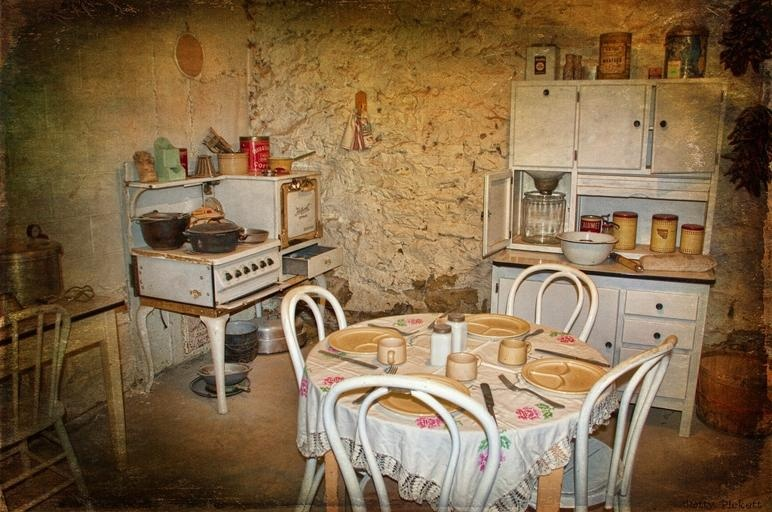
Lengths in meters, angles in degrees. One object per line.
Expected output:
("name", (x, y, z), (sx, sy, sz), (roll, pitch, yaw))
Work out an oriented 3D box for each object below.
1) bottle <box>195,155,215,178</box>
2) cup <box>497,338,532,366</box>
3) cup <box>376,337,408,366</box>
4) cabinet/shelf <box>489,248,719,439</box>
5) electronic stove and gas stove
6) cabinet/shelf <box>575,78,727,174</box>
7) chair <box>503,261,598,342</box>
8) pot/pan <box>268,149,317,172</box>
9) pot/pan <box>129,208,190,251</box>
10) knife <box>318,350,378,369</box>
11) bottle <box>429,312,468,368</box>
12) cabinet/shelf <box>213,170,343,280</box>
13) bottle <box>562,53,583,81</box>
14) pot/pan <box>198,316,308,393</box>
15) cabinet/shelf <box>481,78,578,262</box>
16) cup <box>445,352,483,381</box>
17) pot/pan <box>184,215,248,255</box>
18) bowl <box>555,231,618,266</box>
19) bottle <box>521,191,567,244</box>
("bottle", (-1.550, -0.758, 4.530), (0.220, 0.180, 0.213), (1, 3, 7))
("cup", (0.639, 0.492, 2.759), (0.134, 0.075, 0.160), (3, 2, 23))
("cup", (0.030, 0.484, 2.770), (0.130, 0.075, 0.154), (2, 20, 11))
("cabinet/shelf", (1.446, 0.685, 4.031), (1.805, 1.184, 0.570), (9, -5, -15))
("electronic stove and gas stove", (-1.402, 0.129, 4.046), (0.598, 0.257, 0.602), (3, 10, 18))
("cabinet/shelf", (2.030, -0.990, 4.098), (0.434, 0.703, 1.147), (-19, 23, -29))
("chair", (1.144, 0.308, 3.673), (0.508, 0.556, 0.481), (16, 25, 37))
("pot/pan", (-0.795, -0.849, 4.794), (0.487, 0.145, 0.227), (0, 9, 3))
("pot/pan", (-1.665, -0.193, 3.940), (0.368, 0.200, 0.338), (0, 4, -2))
("knife", (-0.194, 0.538, 2.769), (0.304, 0.012, 0.033), (13, 34, 28))
("bottle", (0.317, 0.438, 2.734), (0.144, 0.207, 0.271), (6, 10, 26))
("cabinet/shelf", (-1.028, -0.288, 4.894), (1.161, 0.793, 0.853), (9, 15, 31))
("bottle", (1.452, -1.479, 4.189), (0.156, 0.232, 0.240), (2, 10, 18))
("pot/pan", (-1.188, 0.810, 4.599), (0.581, 0.224, 0.712), (0, 12, -4))
("cabinet/shelf", (1.151, -0.688, 4.197), (0.588, 1.355, 0.777), (3, 11, 22))
("cup", (0.361, 0.533, 2.600), (0.173, 0.093, 0.116), (-1, 6, -30))
("pot/pan", (-1.333, -0.143, 3.996), (0.432, 0.224, 0.276), (4, 10, 29))
("bowl", (1.522, -0.061, 4.042), (0.363, 0.125, 0.315), (0, 11, -1))
("bottle", (1.311, -0.331, 4.491), (0.487, 0.421, 0.455), (6, 10, 28))
